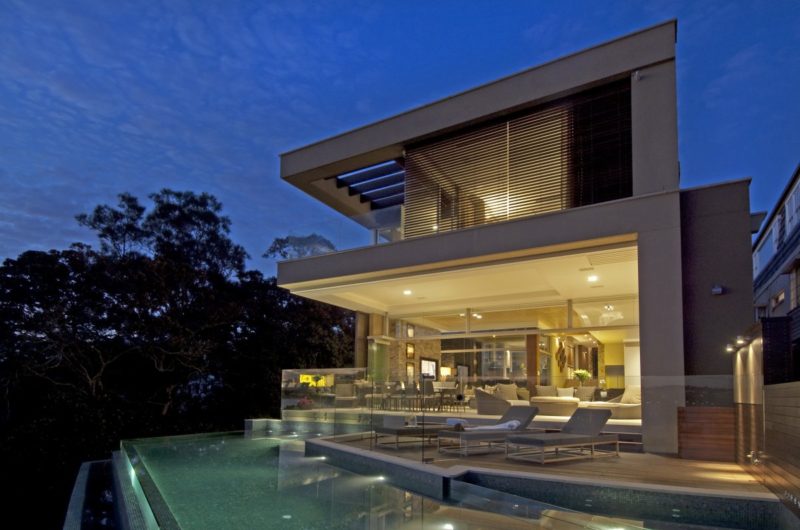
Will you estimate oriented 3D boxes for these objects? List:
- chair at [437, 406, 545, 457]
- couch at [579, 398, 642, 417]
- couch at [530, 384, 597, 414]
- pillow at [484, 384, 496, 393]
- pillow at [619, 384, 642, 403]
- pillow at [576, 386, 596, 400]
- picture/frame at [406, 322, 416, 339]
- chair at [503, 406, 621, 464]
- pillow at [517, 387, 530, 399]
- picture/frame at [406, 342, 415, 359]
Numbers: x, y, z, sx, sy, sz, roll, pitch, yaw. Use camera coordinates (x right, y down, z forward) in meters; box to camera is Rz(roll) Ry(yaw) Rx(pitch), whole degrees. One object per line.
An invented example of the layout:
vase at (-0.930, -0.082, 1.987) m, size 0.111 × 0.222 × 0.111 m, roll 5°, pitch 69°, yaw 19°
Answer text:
chair at (1.926, 3.690, 12.086) m, size 1.947 × 0.963 × 1.023 m, roll 11°, pitch -18°, yaw -33°
couch at (5.487, 3.641, 13.847) m, size 0.918 × 0.231 × 0.895 m, roll 1°, pitch -8°, yaw -13°
couch at (4.486, 3.724, 14.996) m, size 1.144 × 0.681 × 1.038 m, roll -11°, pitch -25°, yaw 31°
pillow at (2.668, 3.647, 15.963) m, size 0.242 × 0.093 × 0.237 m, roll 3°, pitch -3°, yaw -18°
pillow at (5.829, 3.287, 13.726) m, size 0.216 × 0.571 × 0.578 m, roll 39°, pitch -29°, yaw -31°
pillow at (5.136, 3.580, 15.178) m, size 0.503 × 0.571 × 0.302 m, roll 1°, pitch -50°, yaw 13°
picture/frame at (0.393, 2.307, 19.289) m, size 0.385 × 0.557 × 0.047 m, roll -14°, pitch -21°, yaw 42°
chair at (3.426, 3.451, 11.362) m, size 2.474 × 0.903 × 1.145 m, roll 9°, pitch -16°, yaw -34°
pillow at (3.538, 3.669, 15.521) m, size 0.308 × 0.361 × 0.302 m, roll -5°, pitch -11°, yaw 32°
picture/frame at (0.383, 3.000, 18.999) m, size 0.396 × 0.562 × 0.038 m, roll -11°, pitch -19°, yaw 35°
